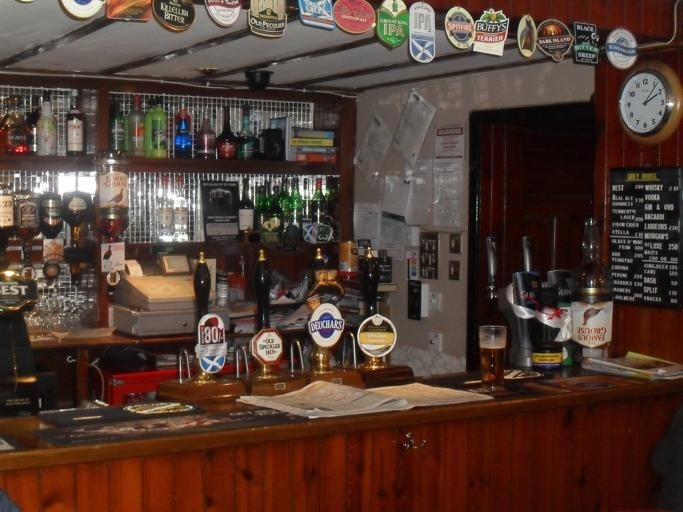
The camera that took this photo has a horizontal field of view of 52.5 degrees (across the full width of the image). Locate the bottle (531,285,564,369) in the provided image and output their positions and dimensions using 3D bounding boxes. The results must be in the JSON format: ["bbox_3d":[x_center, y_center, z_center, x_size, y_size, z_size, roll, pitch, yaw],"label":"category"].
[{"bbox_3d":[0.923,0.326,3.080,0.148,0.370,0.135,3,-9,0],"label":"bottle"}]

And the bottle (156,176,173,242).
[{"bbox_3d":[-1.274,-0.343,4.971,0.123,0.438,0.178,1,14,-15],"label":"bottle"}]

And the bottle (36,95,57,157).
[{"bbox_3d":[-1.950,-0.869,4.541,0.129,0.400,0.254,-1,15,-25],"label":"bottle"}]

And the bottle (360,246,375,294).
[{"bbox_3d":[0.104,0.063,3.099,0.074,0.180,0.239,-2,8,-14],"label":"bottle"}]

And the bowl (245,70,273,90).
[{"bbox_3d":[-0.553,-1.176,4.618,0.184,0.134,0.188,5,15,-1],"label":"bowl"}]

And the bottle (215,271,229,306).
[{"bbox_3d":[-0.820,0.209,4.648,0.064,0.225,0.138,-7,18,-41],"label":"bottle"}]

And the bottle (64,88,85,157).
[{"bbox_3d":[-1.767,-0.875,4.600,0.109,0.394,0.186,6,14,6],"label":"bottle"}]

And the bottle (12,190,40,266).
[{"bbox_3d":[-2.012,-0.176,4.395,0.130,0.457,0.160,-1,15,-23],"label":"bottle"}]

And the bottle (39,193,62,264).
[{"bbox_3d":[-1.909,-0.194,4.518,0.147,0.432,0.143,5,13,-1],"label":"bottle"}]

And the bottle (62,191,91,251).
[{"bbox_3d":[-1.777,-0.247,4.628,0.177,0.355,0.126,-1,15,-23],"label":"bottle"}]

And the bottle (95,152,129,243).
[{"bbox_3d":[-1.509,-0.371,4.517,0.191,0.600,0.220,-1,15,-24],"label":"bottle"}]
